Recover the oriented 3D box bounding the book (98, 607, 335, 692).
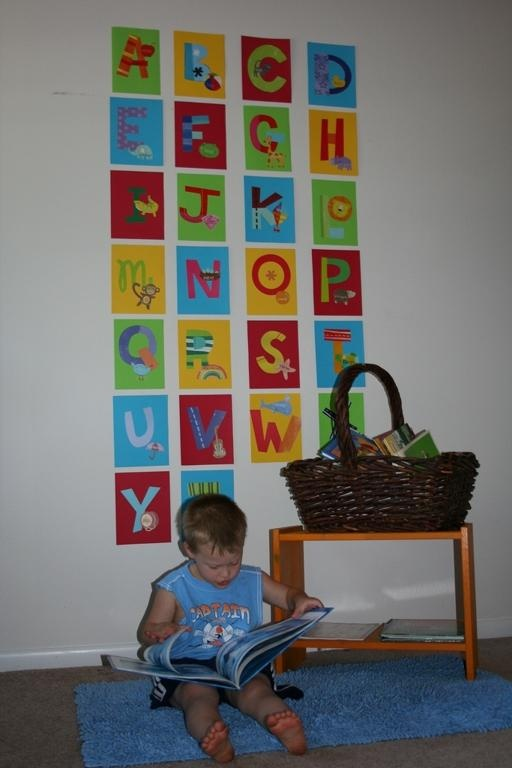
[{"bbox_3d":[-0.054,0.462,1.240,0.342,0.095,0.280,-2,-4,17],"label":"book"}]

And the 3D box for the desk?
[{"bbox_3d":[0.264,0.473,1.546,0.415,0.290,0.229,-3,-12,15],"label":"desk"}]

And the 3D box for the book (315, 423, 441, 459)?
[{"bbox_3d":[0.286,0.139,1.578,0.173,0.063,0.119,-4,-3,2],"label":"book"}]

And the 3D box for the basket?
[{"bbox_3d":[0.283,0.126,1.584,0.425,0.364,0.319,1,1,40],"label":"basket"}]
